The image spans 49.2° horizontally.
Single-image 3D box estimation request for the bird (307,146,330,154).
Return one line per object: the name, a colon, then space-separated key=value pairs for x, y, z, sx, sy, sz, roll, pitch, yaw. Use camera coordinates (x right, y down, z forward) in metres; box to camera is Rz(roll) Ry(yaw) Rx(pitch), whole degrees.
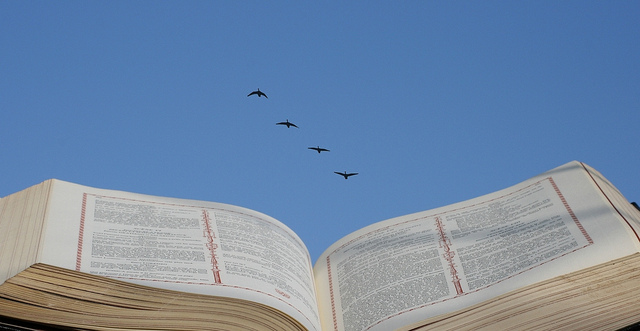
bird: x=-0.019 y=-0.150 z=6.403 sx=0.247 sy=0.026 sz=0.094 roll=0 pitch=-81 yaw=-7
